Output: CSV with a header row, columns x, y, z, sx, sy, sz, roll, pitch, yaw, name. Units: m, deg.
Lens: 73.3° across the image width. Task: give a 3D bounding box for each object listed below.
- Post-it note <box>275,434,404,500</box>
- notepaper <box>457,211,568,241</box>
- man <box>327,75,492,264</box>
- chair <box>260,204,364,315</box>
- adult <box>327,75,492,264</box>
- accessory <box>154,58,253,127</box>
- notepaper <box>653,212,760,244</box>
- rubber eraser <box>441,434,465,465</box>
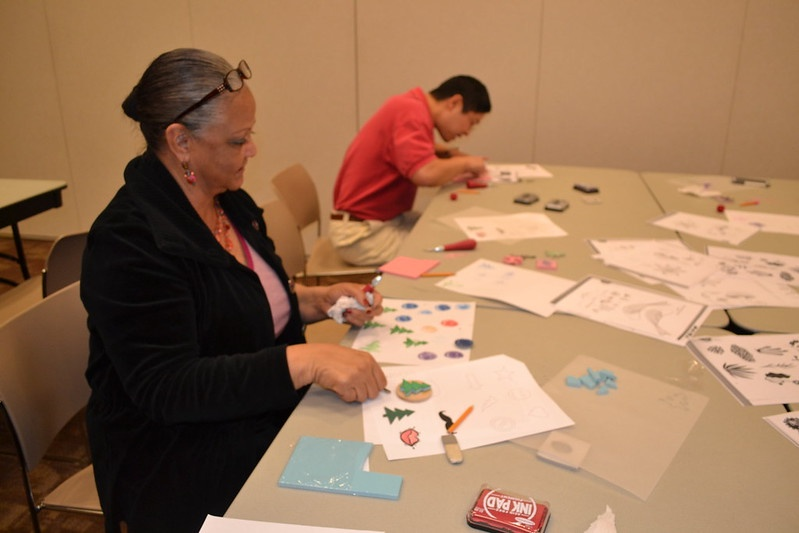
x,y,z,sx,sy,sz,roll,pitch,yaw,name
-0.136,0.416,1.151,0.181,0.017,0.118,3,32,8,Post-it note
0.452,-0.157,2.205,0.408,0.040,0.286,-3,18,-8,notepaper
0.060,-0.525,2.819,0.745,1.258,0.633,1,47,-14,man
-0.375,-0.042,2.323,0.354,0.531,0.308,-1,36,6,chair
0.060,-0.525,2.819,0.745,1.258,0.633,1,47,-14,adult
-0.523,-0.481,1.502,0.212,0.065,0.203,-36,18,6,accessory
1.245,-0.155,2.187,0.346,0.054,0.272,14,23,39,notepaper
0.119,0.408,1.198,0.028,0.010,0.062,-3,26,-5,rubber eraser
